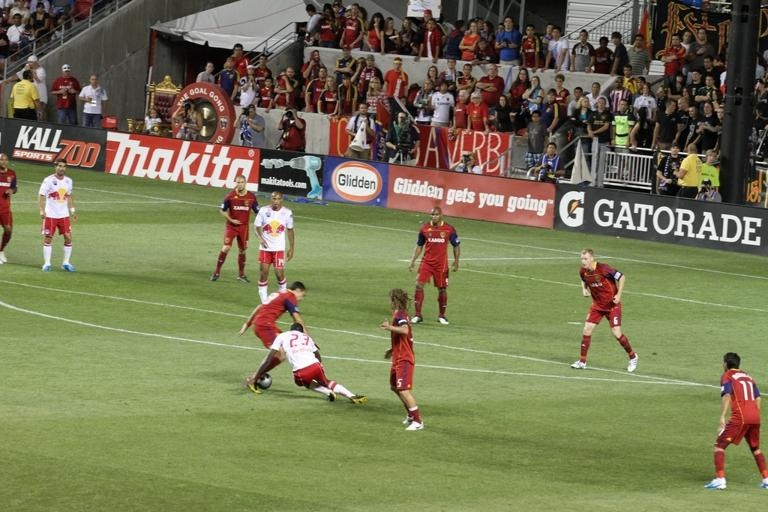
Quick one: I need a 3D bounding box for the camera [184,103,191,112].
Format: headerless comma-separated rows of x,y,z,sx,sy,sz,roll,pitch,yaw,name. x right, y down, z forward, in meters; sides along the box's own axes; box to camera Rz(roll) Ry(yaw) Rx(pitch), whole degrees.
-7.241,-5.607,51.676,0.171,0.224,0.395,4,2,-20,camera

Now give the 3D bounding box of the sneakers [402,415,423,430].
0.541,3.314,27.767,0.404,0.155,0.197,7,10,38,sneakers

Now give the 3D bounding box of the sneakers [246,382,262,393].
-2.703,2.684,28.976,0.290,0.113,0.166,24,-22,22,sneakers

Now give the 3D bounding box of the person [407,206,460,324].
1.199,0.210,34.027,1.107,2.293,0.979,5,2,-8,person

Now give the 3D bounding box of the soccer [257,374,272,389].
-2.490,2.580,28.957,0.263,0.213,0.222,-30,64,-29,soccer

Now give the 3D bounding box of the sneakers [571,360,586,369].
4.242,2.406,31.176,0.406,0.182,0.127,1,5,-10,sneakers

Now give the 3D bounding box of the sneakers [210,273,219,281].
-4.421,0.519,36.496,0.139,0.166,0.095,27,-25,-19,sneakers

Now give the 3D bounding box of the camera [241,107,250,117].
-5.010,-5.268,50.642,0.368,0.324,0.272,-8,15,-40,camera

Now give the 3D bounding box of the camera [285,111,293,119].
-3.351,-5.043,49.266,0.214,0.234,0.187,-6,12,2,camera

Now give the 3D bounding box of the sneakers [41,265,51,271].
-8.747,0.286,36.324,0.175,0.135,0.335,0,0,-12,sneakers

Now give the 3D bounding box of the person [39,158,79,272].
-8.486,-1.077,36.553,1.014,1.951,1.349,5,2,-13,person

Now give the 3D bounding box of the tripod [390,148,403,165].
0.390,-3.506,48.267,0.341,0.381,0.841,4,2,-28,tripod
